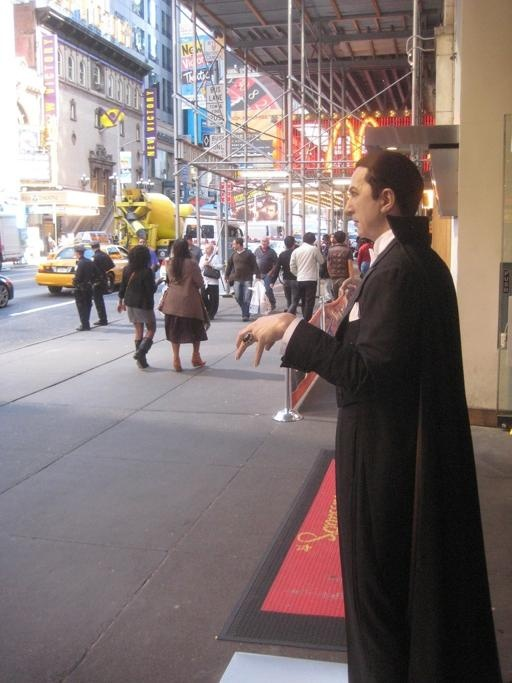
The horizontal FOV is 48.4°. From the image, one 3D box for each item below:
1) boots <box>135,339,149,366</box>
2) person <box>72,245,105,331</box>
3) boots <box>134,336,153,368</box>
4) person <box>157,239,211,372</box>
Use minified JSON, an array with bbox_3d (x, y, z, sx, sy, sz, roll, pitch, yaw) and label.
[{"bbox_3d":[-1.857,0.206,9.371,0.250,0.495,0.301,-5,10,-19],"label":"boots"},{"bbox_3d":[-4.112,-1.299,13.842,0.566,1.970,1.264,-5,10,-16],"label":"person"},{"bbox_3d":[-1.839,0.174,9.292,0.277,0.564,0.511,10,3,-3],"label":"boots"},{"bbox_3d":[-1.192,-0.598,9.393,0.635,2.126,0.724,7,13,43],"label":"person"}]
